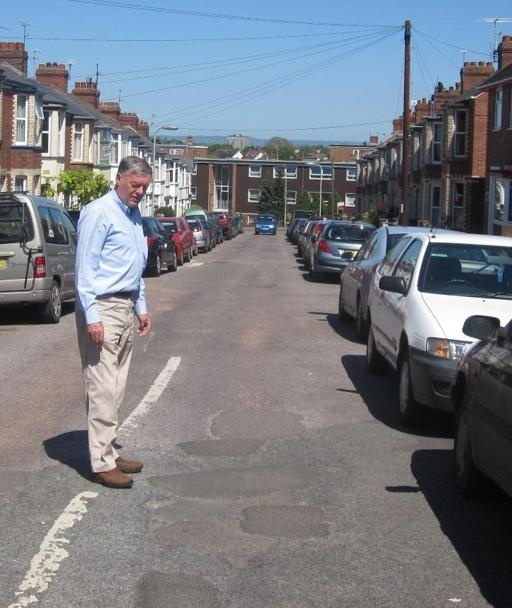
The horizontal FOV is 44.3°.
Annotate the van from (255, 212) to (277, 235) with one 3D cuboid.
[{"bbox_3d":[0.980,-8.682,70.092,2.156,2.240,2.593,2,3,-4],"label":"van"}]

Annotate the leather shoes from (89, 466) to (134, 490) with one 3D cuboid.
[{"bbox_3d":[-0.898,1.108,3.965,0.205,0.128,0.118,2,7,10],"label":"leather shoes"}]

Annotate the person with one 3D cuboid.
[{"bbox_3d":[-0.902,0.112,4.024,0.484,2.080,0.405,0,2,-28],"label":"person"}]

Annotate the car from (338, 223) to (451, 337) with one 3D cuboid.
[{"bbox_3d":[1.999,-0.490,10.646,0.903,1.232,2.282,-1,9,-4],"label":"car"}]

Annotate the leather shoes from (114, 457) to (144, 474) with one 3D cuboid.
[{"bbox_3d":[-0.855,1.091,4.269,0.184,0.108,0.080,1,13,-4],"label":"leather shoes"}]
